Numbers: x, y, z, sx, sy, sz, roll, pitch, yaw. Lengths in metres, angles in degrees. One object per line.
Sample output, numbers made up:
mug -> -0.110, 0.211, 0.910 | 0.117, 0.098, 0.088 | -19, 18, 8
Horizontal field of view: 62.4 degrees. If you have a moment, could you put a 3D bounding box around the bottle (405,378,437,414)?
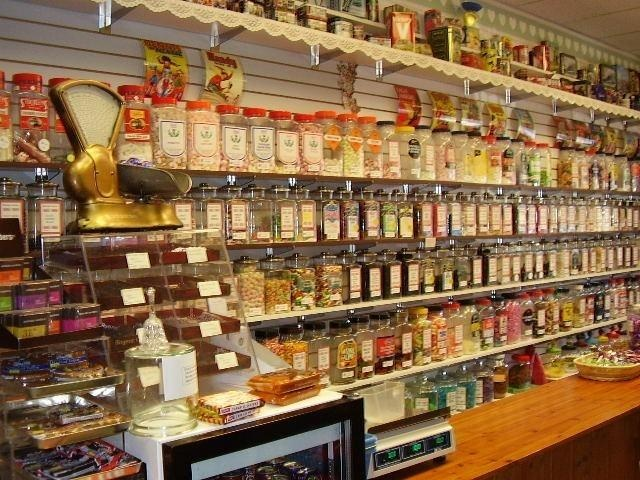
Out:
bottle -> 0.660, 1.104, 3.657 | 0.230, 0.225, 0.166 | 6, -16, 2

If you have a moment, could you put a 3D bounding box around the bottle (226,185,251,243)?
bottle -> -0.430, -0.101, 2.820 | 0.051, 0.289, 0.154 | -7, 0, 41

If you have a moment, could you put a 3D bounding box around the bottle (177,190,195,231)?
bottle -> -0.680, -0.150, 2.688 | 0.088, 0.187, 0.242 | -7, 1, -7

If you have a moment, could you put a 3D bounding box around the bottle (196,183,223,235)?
bottle -> -0.561, -0.167, 2.732 | 0.137, 0.263, 0.287 | -6, 1, -11

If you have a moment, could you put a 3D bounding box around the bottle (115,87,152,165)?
bottle -> -0.896, -0.547, 2.516 | 0.126, 0.384, 0.158 | -7, 0, 23

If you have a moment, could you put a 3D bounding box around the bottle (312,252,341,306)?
bottle -> 0.057, 0.242, 3.223 | 0.180, 0.322, 0.249 | -6, 0, 2

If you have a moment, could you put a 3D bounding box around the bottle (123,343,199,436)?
bottle -> -0.492, 0.457, 1.636 | 0.188, 0.283, 0.160 | -6, 0, -32

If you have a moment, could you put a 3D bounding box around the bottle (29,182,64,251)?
bottle -> -1.174, -0.108, 2.378 | 0.203, 0.276, 0.166 | -6, 9, -26

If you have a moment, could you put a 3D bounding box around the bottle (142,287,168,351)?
bottle -> -0.545, 0.250, 1.707 | 0.078, 0.188, 0.211 | -7, 1, -17
